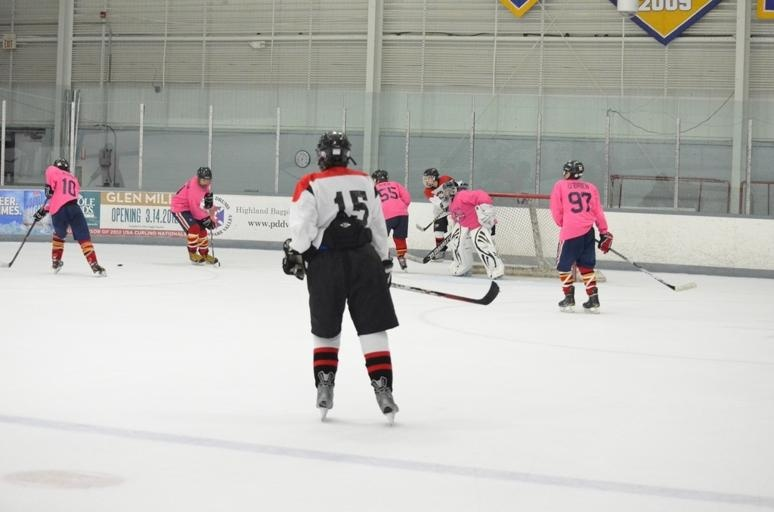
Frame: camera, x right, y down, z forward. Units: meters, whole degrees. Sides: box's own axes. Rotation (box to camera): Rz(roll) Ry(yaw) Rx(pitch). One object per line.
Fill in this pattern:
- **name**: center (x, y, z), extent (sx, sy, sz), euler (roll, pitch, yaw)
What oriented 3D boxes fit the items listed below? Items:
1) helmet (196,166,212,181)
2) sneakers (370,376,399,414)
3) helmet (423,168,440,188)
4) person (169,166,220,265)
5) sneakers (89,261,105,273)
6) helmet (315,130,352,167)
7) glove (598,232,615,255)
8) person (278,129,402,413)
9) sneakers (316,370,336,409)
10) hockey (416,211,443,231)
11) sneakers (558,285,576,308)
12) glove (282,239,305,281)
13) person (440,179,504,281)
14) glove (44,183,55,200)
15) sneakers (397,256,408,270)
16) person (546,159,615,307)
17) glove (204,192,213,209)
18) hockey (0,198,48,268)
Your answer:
- **helmet**: center (-2.730, -1.238, 14.003), extent (0.214, 0.251, 0.259), euler (3, 22, -9)
- **sneakers**: center (-0.011, 1.148, 7.717), extent (0.135, 0.364, 0.154), euler (-17, -7, 4)
- **helmet**: center (0.692, -1.238, 14.774), extent (0.245, 0.300, 0.313), euler (-6, -7, 38)
- **person**: center (-2.890, -0.606, 14.104), extent (0.683, 1.459, 0.451), euler (0, 6, -9)
- **sneakers**: center (-3.834, 0.164, 12.376), extent (0.171, 0.167, 0.264), euler (-1, 6, -18)
- **helmet**: center (-0.442, -0.910, 7.966), extent (0.276, 0.279, 0.298), euler (0, 10, -5)
- **glove**: center (2.668, -0.162, 11.559), extent (0.118, 0.287, 0.287), euler (3, 6, 31)
- **person**: center (-0.369, 0.303, 7.742), extent (0.917, 2.038, 0.522), euler (1, 6, -6)
- **sneakers**: center (-0.506, 1.118, 7.715), extent (0.143, 0.303, 0.169), euler (1, 6, -5)
- **hockey**: center (0.703, -0.573, 15.074), extent (0.301, 0.082, 0.295), euler (-34, 3, 9)
- **sneakers**: center (2.135, 0.503, 11.038), extent (0.170, 0.265, 0.123), euler (2, 6, 7)
- **glove**: center (-0.783, 0.039, 7.993), extent (0.242, 0.309, 0.111), euler (-1, 18, 5)
- **person**: center (1.277, -0.304, 13.658), extent (0.823, 1.305, 0.456), euler (7, 8, 42)
- **glove**: center (-4.470, -0.844, 12.368), extent (0.083, 0.205, 0.173), euler (-2, 7, -27)
- **sneakers**: center (0.243, 0.108, 14.263), extent (0.125, 0.215, 0.072), euler (-8, 4, 8)
- **person**: center (2.338, -0.251, 11.260), extent (0.712, 1.758, 0.777), euler (3, 6, 13)
- **glove**: center (-2.688, -0.834, 14.044), extent (0.120, 0.251, 0.250), euler (0, 6, -14)
- **hockey**: center (-6.078, -0.411, 15.551), extent (0.260, 0.210, 1.799), euler (-5, 31, 16)
